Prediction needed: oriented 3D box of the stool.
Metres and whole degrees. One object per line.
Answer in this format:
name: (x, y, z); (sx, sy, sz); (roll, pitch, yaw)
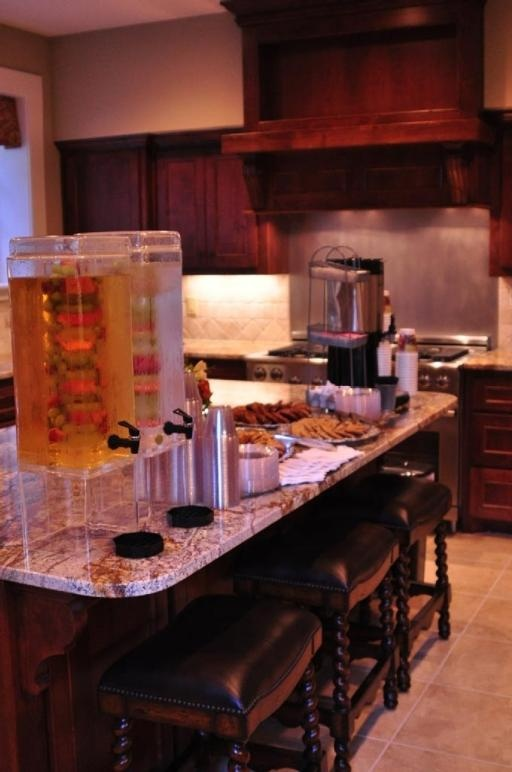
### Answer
stool: (0.053, 0.560, 1.555); (0.251, 0.401, 0.854); (3, 11, 20)

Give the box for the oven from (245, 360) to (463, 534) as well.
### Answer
oven: (0.596, 0.476, 4.308); (1.519, 1.270, 0.912); (4, 14, 17)

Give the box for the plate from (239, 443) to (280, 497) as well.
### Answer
plate: (0.002, 0.187, 1.495); (0.101, 0.071, 0.099); (-3, 4, -19)

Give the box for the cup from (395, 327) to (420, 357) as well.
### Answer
cup: (0.619, -0.178, 2.800); (0.132, 0.147, 0.131); (-2, 5, 0)

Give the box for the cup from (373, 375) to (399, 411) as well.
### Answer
cup: (0.485, 0.026, 2.466); (0.118, 0.143, 0.108); (0, 5, 0)
